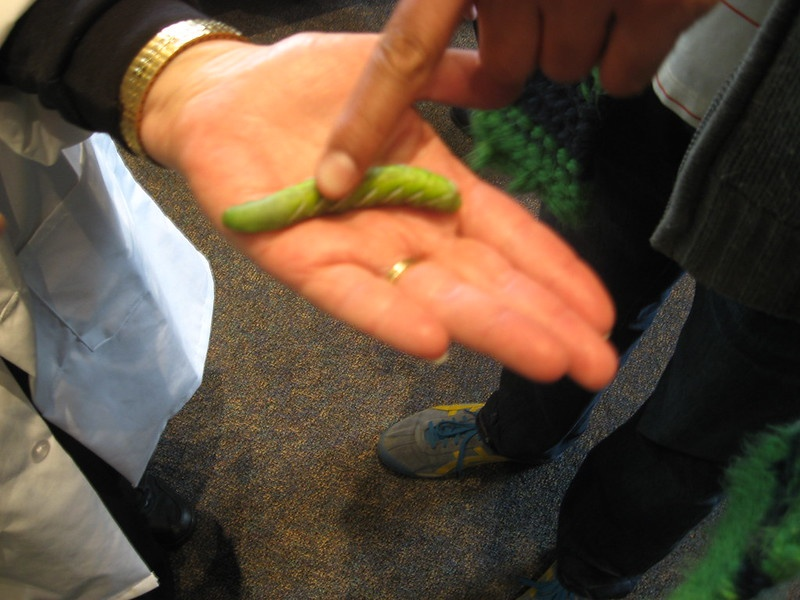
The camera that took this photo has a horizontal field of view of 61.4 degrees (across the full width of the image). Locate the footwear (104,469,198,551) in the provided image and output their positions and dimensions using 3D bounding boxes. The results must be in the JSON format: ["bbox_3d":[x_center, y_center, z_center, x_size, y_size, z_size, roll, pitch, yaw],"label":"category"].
[{"bbox_3d":[-0.593,0.514,1.663,0.232,0.048,0.136,51,49,-14],"label":"footwear"}]

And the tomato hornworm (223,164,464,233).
[{"bbox_3d":[-0.113,-0.172,1.146,0.311,0.087,0.063,-7,33,-17],"label":"tomato hornworm"}]
